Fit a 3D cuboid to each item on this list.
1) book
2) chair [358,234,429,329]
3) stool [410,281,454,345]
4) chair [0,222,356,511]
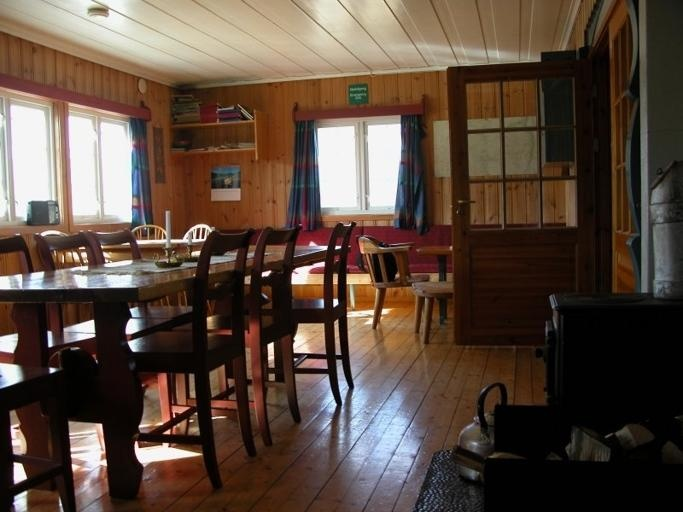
[{"bbox_3d":[-1.590,-1.712,7.298,1.226,0.943,0.418,-3,5,20],"label":"book"},{"bbox_3d":[0.476,0.226,5.560,0.571,0.897,0.443,-4,5,8],"label":"chair"},{"bbox_3d":[0.740,0.494,5.047,0.464,0.514,0.514,-2,3,6],"label":"stool"},{"bbox_3d":[-0.933,0.463,2.876,0.959,1.096,1.313,-1,6,36],"label":"chair"}]
